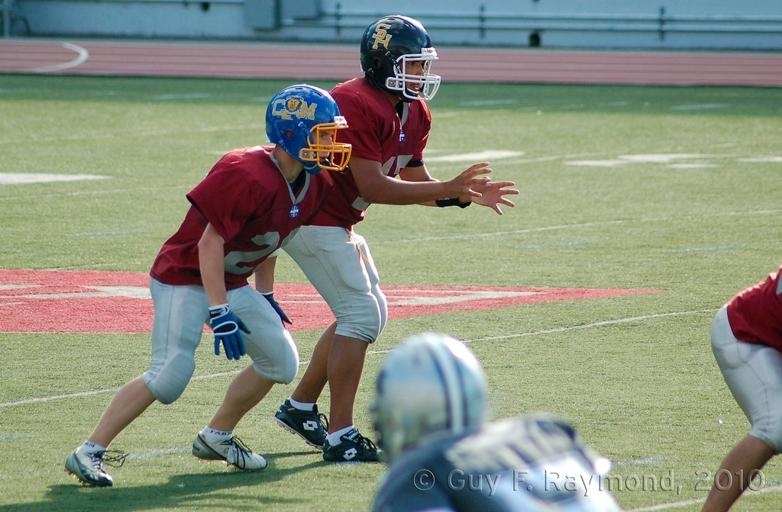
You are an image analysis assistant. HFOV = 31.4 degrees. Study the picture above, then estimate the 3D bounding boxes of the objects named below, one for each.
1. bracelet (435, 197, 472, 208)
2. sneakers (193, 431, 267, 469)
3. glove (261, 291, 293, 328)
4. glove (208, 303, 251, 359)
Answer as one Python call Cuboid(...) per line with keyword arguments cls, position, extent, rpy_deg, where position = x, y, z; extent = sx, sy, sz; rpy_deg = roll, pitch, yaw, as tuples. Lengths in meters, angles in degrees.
Cuboid(cls="bracelet", position=(0.504, -0.438, 11.645), extent=(0.359, 0.087, 0.104), rpy_deg=(1, -3, 27))
Cuboid(cls="sneakers", position=(-1.303, 1.513, 10.983), extent=(0.662, 0.228, 0.241), rpy_deg=(14, 1, -8))
Cuboid(cls="glove", position=(-0.911, 0.438, 11.175), extent=(0.176, 0.284, 0.226), rpy_deg=(-30, 14, 2))
Cuboid(cls="glove", position=(-1.251, 0.555, 10.744), extent=(0.369, 0.385, 0.151), rpy_deg=(-16, 15, 3))
